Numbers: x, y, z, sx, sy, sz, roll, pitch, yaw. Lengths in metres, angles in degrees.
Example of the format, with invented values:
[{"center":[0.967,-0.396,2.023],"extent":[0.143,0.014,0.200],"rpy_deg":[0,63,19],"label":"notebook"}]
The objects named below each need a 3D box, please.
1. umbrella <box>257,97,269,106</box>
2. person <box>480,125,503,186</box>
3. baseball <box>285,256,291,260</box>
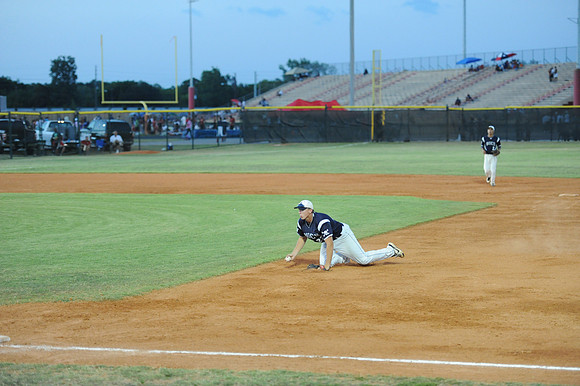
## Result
[{"center":[-2.200,-7.375,91.257],"extent":[1.274,0.578,1.093],"rpy_deg":[0,2,5],"label":"umbrella"},{"center":[7.418,-1.368,41.352],"extent":[1.050,2.050,1.036],"rpy_deg":[-2,5,-16],"label":"person"},{"center":[-0.052,1.887,32.398],"extent":[0.160,0.185,0.158],"rpy_deg":[-2,4,-6],"label":"baseball"}]
